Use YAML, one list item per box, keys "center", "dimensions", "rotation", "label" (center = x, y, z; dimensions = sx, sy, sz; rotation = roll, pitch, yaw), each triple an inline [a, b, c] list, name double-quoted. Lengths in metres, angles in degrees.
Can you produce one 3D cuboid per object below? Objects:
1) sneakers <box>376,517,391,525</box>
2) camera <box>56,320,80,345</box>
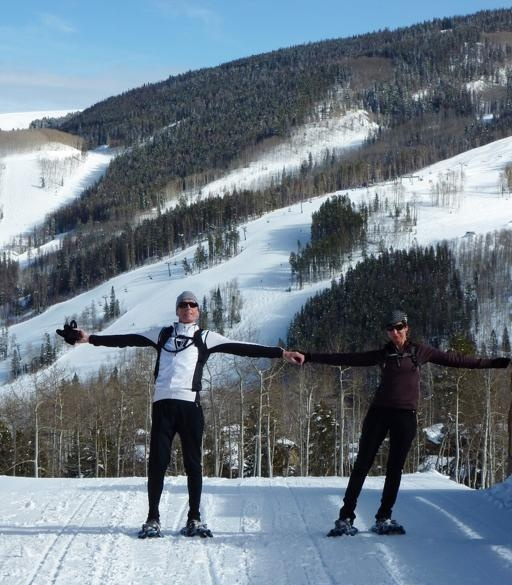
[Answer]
- center: [1.725, 3.101, 13.664]
  dimensions: [0.203, 0.082, 0.104]
  rotation: [-6, -1, 13]
  label: "sneakers"
- center: [-2.599, 0.522, 14.161]
  dimensions: [0.251, 0.434, 0.127]
  rotation: [-22, 9, 4]
  label: "camera"
